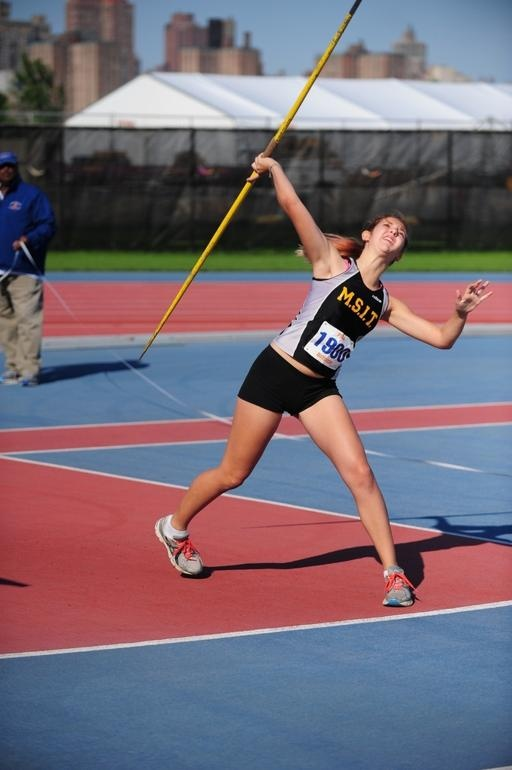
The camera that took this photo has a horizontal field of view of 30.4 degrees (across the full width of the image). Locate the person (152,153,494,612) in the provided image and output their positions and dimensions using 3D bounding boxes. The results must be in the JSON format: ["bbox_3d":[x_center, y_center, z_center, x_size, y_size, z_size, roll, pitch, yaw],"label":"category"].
[{"bbox_3d":[0.218,-0.043,3.592,1.250,1.650,0.623,2,10,11],"label":"person"}]

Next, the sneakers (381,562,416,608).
[{"bbox_3d":[0.513,0.733,3.411,0.092,0.075,0.183,0,-5,3],"label":"sneakers"}]
